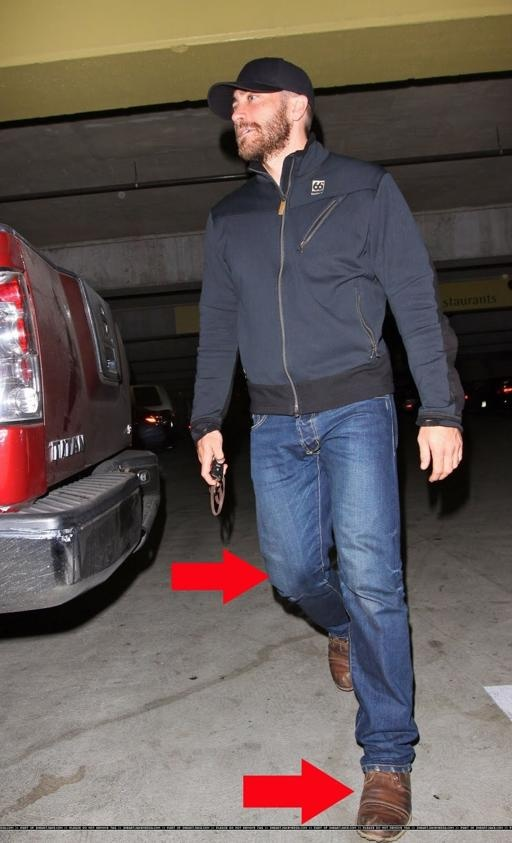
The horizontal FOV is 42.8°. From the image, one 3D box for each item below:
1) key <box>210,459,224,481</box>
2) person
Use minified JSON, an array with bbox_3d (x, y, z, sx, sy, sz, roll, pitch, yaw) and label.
[{"bbox_3d":[-0.126,0.157,2.146,0.022,0.063,0.046,9,27,37],"label":"key"},{"bbox_3d":[0.178,-0.065,1.978,0.433,2.149,0.856,-5,3,-35],"label":"person"}]
